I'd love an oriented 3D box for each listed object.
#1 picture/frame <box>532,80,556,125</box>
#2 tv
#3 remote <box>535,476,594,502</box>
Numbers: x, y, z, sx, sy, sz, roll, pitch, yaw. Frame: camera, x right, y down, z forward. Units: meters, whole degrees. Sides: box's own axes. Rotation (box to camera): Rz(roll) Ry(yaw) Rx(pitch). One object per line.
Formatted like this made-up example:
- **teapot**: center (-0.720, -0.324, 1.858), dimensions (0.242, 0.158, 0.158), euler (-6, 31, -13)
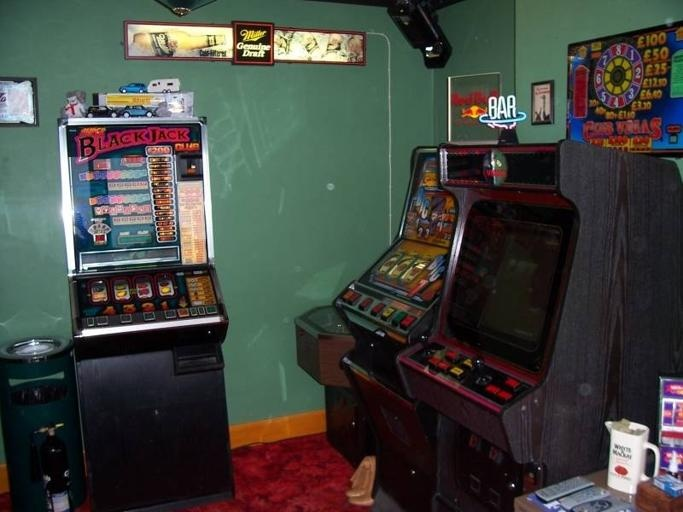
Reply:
- **picture/frame**: center (1.285, -0.976, 3.312), dimensions (0.041, 0.270, 0.176), euler (-9, 10, -21)
- **tv**: center (0.790, 0.146, 2.423), dimensions (0.079, 0.776, 0.669), euler (12, 3, -32)
- **remote**: center (0.920, 0.972, 2.165), dimensions (0.183, 0.018, 0.095), euler (-10, 8, -19)
